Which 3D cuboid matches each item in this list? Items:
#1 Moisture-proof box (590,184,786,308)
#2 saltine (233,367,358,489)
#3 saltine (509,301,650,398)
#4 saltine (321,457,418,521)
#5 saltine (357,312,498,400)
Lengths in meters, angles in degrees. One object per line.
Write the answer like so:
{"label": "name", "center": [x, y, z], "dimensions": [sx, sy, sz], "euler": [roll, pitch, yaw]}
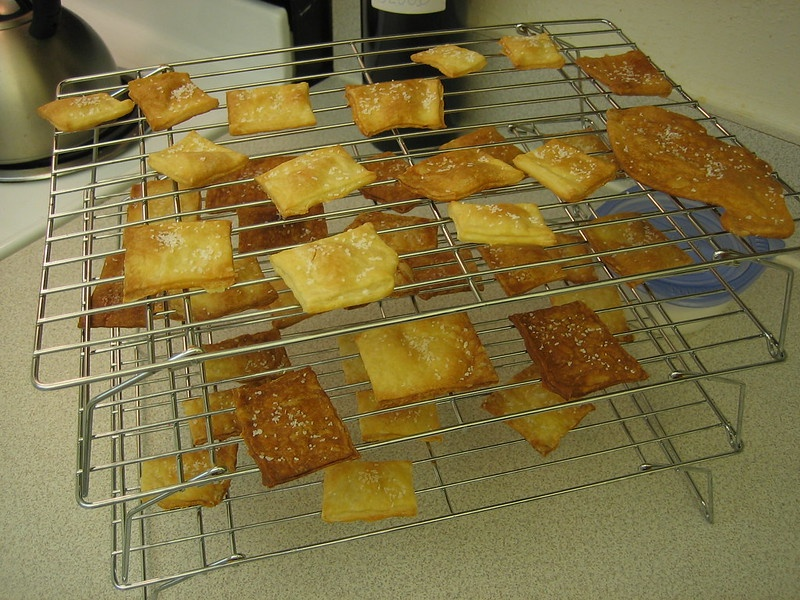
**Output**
{"label": "Moisture-proof box", "center": [0.564, -0.111, 1.397], "dimensions": [0.433, 0.119, 0.350], "euler": [-8, 40, -10]}
{"label": "saltine", "center": [-0.179, 0.221, 1.103], "dimensions": [0.235, 0.055, 0.183], "euler": [-15, 60, -20]}
{"label": "saltine", "center": [0.311, 0.087, 1.195], "dimensions": [0.211, 0.031, 0.195], "euler": [-12, 46, -16]}
{"label": "saltine", "center": [-0.065, 0.343, 1.229], "dimensions": [0.185, 0.043, 0.101], "euler": [4, 62, -23]}
{"label": "saltine", "center": [0.041, 0.101, 1.198], "dimensions": [0.214, 0.028, 0.156], "euler": [-11, 52, -9]}
